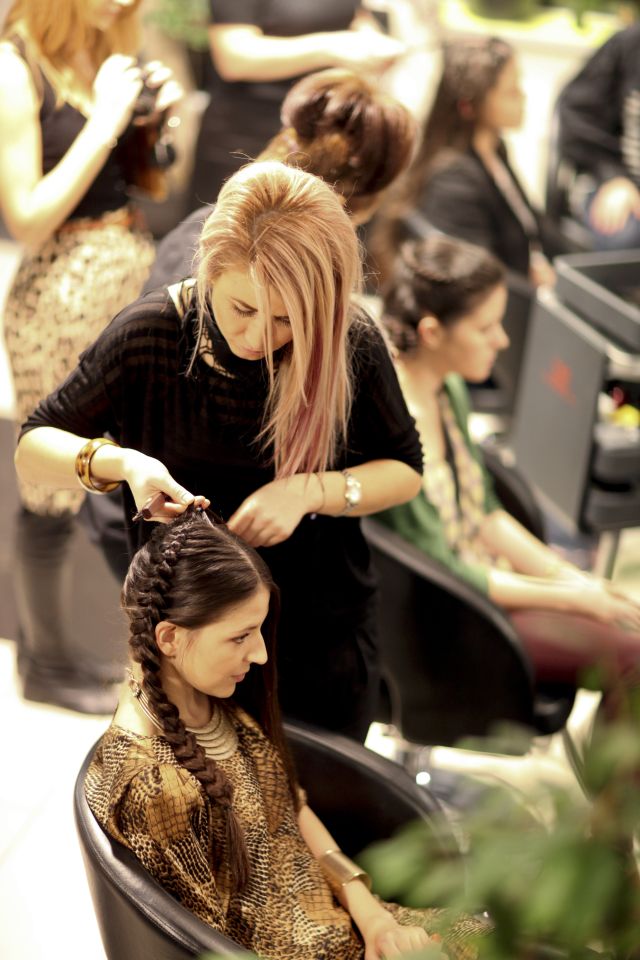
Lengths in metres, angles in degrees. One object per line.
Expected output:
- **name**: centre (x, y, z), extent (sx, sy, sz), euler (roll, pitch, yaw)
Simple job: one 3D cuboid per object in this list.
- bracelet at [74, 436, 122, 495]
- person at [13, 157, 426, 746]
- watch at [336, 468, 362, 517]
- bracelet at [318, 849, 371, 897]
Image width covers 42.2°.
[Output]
- **bracelet**: centre (-0.319, -0.019, 1.201), extent (0.072, 0.070, 0.063), euler (11, 13, 27)
- **person**: centre (-0.141, 0.163, 1.393), extent (0.572, 1.221, 0.401), euler (-1, 26, 3)
- **watch**: centre (0.037, 0.015, 1.258), extent (0.021, 0.045, 0.055), euler (2, 79, -13)
- **bracelet**: centre (0.040, 0.588, 1.269), extent (0.060, 0.060, 0.054), euler (34, 64, 31)
